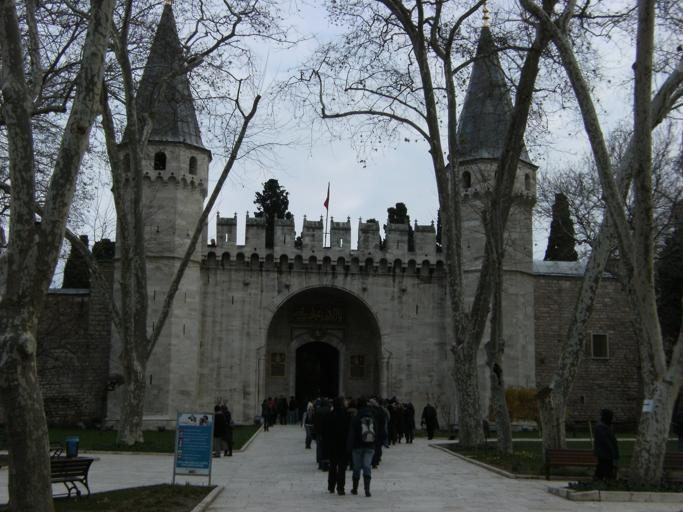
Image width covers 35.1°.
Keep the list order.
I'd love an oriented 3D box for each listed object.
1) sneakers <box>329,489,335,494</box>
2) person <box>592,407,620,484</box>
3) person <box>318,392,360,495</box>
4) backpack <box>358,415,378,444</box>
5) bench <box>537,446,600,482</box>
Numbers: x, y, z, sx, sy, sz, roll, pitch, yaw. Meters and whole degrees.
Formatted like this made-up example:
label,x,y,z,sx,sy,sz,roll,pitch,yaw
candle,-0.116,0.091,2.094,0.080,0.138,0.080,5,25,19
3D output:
label,x,y,z,sx,sy,sz,roll,pitch,yaw
sneakers,-0.197,5.184,23.706,0.120,0.065,0.285,1,-10,1
person,5.922,4.215,24.076,0.510,1.546,1.014,-1,-10,13
person,-0.189,4.285,24.312,0.705,2.082,0.638,4,-8,-23
backpack,0.585,3.843,23.778,0.340,0.612,0.166,4,-10,-18
bench,5.551,5.057,26.192,1.200,0.726,1.499,-1,-10,12
